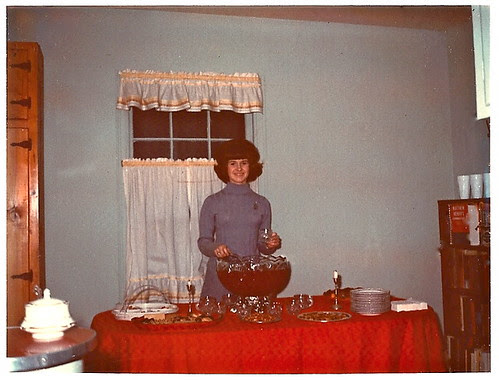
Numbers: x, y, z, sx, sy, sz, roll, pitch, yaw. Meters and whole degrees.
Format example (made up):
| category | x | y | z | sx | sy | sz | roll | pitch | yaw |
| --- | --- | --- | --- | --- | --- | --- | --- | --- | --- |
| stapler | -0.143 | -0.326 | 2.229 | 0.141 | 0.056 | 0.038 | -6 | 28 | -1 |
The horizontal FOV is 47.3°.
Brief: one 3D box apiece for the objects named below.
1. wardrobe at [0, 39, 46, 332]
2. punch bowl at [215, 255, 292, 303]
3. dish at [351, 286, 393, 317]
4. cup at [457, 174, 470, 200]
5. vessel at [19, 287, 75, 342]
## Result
| category | x | y | z | sx | sy | sz | roll | pitch | yaw |
| --- | --- | --- | --- | --- | --- | --- | --- | --- | --- |
| wardrobe | -2.237 | 0.179 | 5.452 | 0.168 | 1.966 | 0.356 | -6 | -21 | -16 |
| punch bowl | -0.026 | 0.670 | 4.592 | 0.487 | 0.292 | 0.500 | -1 | 0 | 0 |
| dish | 1.011 | 0.936 | 4.738 | 0.335 | 0.183 | 0.373 | -5 | -2 | 27 |
| cup | 2.300 | -0.019 | 6.101 | 0.117 | 0.263 | 0.211 | -1 | -3 | 22 |
| vessel | -1.461 | 0.918 | 4.114 | 0.340 | 0.360 | 0.372 | -2 | -5 | 5 |
